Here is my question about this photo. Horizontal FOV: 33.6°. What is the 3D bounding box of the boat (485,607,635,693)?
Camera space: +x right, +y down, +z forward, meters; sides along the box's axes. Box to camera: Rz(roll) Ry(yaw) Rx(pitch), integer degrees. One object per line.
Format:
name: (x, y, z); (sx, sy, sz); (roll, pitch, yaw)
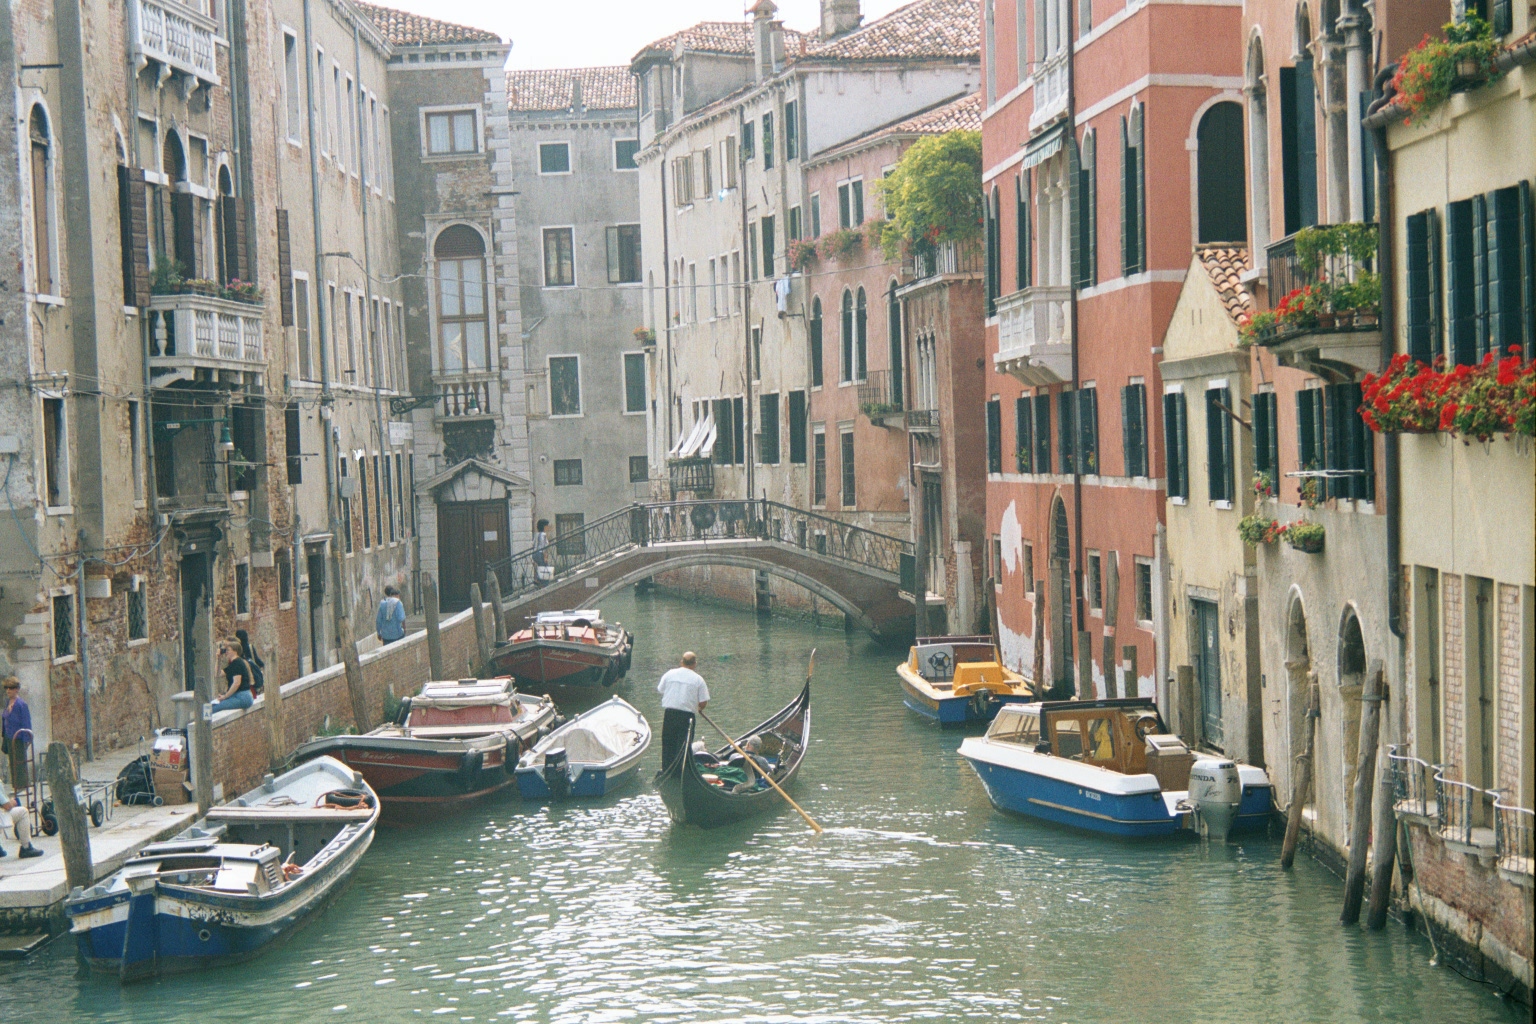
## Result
boat: (-4.408, 2.824, 56.050); (4.128, 2.085, 1.944); (3, -6, -6)

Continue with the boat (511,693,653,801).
boat: (-2.985, 4.234, 45.384); (1.001, 0.676, 2.995); (8, 16, 14)

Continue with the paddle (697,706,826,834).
paddle: (0.192, 4.514, 42.983); (1.110, 1.196, 2.911); (-7, 15, -21)

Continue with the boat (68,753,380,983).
boat: (-7.657, 5.173, 37.778); (2.343, 1.505, 5.526); (3, 15, 18)

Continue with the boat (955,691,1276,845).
boat: (5.591, 4.232, 40.989); (5.171, 2.073, 1.646); (10, 17, 39)
